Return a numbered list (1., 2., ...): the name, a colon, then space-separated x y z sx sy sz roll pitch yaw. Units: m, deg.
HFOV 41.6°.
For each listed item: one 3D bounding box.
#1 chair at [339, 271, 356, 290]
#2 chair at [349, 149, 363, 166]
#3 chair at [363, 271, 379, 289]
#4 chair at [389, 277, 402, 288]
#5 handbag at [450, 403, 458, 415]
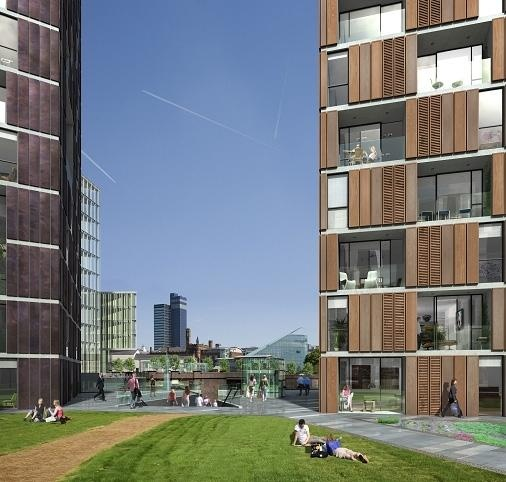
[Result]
1. chair: 4.542 1.885 32.290 0.689 1.004 0.654 -6 -12 40
2. chair: 5.048 -4.092 33.017 0.556 1.067 0.655 1 0 8
3. chair: 5.722 1.872 32.154 0.565 1.139 0.683 -2 -14 20
4. chair: 6.776 1.906 31.735 0.654 0.488 0.216 -8 -14 20
5. handbag: 8.744 7.259 29.065 0.307 0.522 0.429 -4 -14 7
